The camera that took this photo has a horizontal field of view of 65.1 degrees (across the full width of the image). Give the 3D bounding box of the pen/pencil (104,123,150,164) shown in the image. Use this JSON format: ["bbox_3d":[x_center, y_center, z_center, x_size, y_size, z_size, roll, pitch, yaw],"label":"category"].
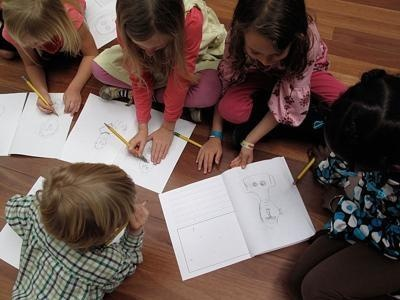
[{"bbox_3d":[-0.318,-0.021,1.350,0.210,0.016,0.017,51,30,2],"label":"pen/pencil"}]

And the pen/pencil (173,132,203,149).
[{"bbox_3d":[-0.062,-0.042,1.376,0.098,0.015,0.014,36,21,-3],"label":"pen/pencil"}]

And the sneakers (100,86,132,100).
[{"bbox_3d":[-0.382,-0.259,1.456,0.169,0.065,0.078,1,23,-9],"label":"sneakers"}]

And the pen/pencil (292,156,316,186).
[{"bbox_3d":[0.437,0.093,1.321,0.014,0.134,0.014,26,18,-24],"label":"pen/pencil"}]

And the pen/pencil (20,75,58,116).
[{"bbox_3d":[-0.750,-0.247,1.453,0.223,0.018,0.017,57,15,-2],"label":"pen/pencil"}]

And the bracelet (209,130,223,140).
[{"bbox_3d":[0.069,-0.068,1.359,0.042,0.047,0.033,10,80,-33],"label":"bracelet"}]
